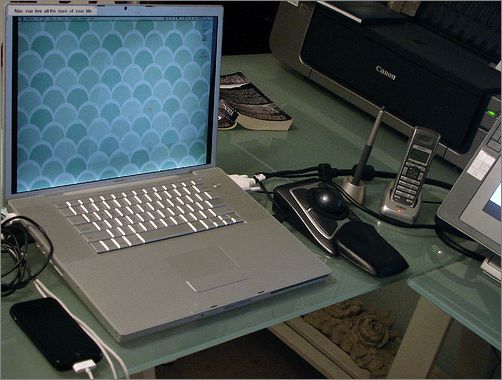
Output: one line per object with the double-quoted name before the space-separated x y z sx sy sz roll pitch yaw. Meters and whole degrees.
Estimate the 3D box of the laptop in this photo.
"laptop" -0.178 -0.016 0.787 0.509 0.476 0.554 -14 50 -41

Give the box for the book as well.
"book" 0.003 -0.234 1.116 0.176 0.045 0.192 -6 46 -31
